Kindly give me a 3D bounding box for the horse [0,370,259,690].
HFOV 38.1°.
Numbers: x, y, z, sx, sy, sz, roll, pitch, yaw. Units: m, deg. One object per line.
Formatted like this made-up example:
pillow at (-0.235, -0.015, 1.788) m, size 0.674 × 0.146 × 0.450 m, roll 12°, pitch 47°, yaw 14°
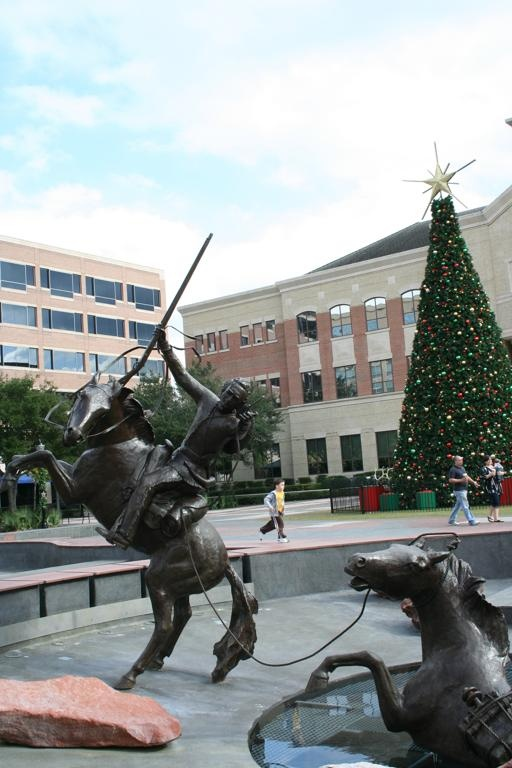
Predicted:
horse at (-0.811, 1.108, 5.472) m, size 1.545 × 2.271 × 0.853 m, roll -3°, pitch -7°, yaw -28°
